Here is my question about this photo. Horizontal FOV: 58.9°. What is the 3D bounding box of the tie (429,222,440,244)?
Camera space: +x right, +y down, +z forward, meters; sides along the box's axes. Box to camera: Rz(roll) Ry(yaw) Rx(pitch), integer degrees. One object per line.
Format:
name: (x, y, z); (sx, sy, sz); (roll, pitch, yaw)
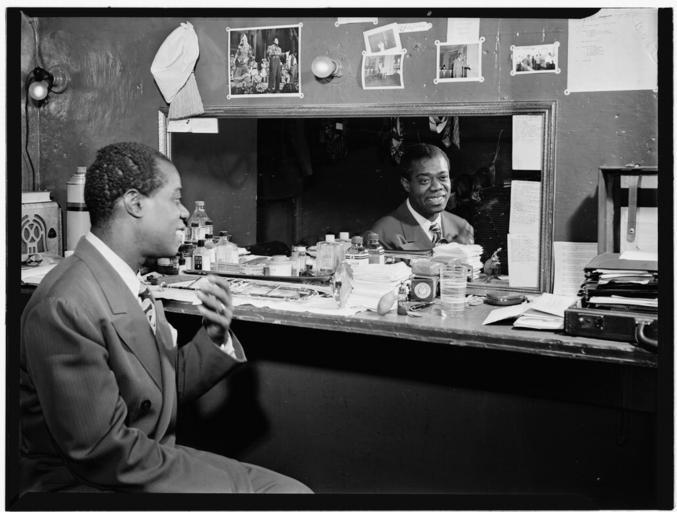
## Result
tie: (0.422, -0.102, 2.675); (0.050, 0.085, 0.020); (3, 11, 23)

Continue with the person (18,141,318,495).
person: (-0.737, 0.167, 2.535); (1.089, 1.897, 0.845); (-1, 2, -14)

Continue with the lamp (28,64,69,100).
lamp: (-1.569, -0.931, 3.296); (0.216, 0.161, 0.097); (-33, 0, -17)

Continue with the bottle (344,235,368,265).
bottle: (0.108, -0.025, 2.714); (0.107, 0.154, 0.112); (0, 1, 0)

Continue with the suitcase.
suitcase: (1.015, -0.033, 2.192); (0.282, 0.616, 0.586); (4, 6, 27)
